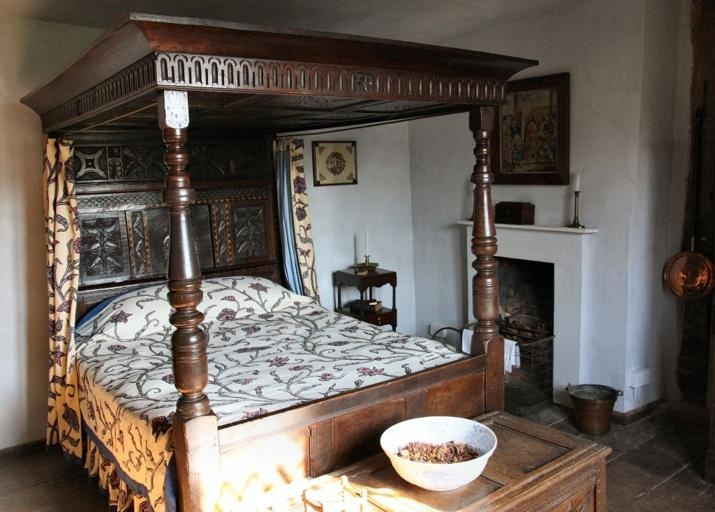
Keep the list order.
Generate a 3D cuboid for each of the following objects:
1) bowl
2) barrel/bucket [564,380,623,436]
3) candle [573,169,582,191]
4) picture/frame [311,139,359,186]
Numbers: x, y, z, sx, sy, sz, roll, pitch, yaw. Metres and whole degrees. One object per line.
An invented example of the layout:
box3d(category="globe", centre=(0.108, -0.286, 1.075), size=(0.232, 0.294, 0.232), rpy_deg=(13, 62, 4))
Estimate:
box3d(category="bowl", centre=(0.405, 1.022, 2.867), size=(0.588, 0.206, 0.574), rpy_deg=(-2, 7, 0))
box3d(category="barrel/bucket", centre=(1.949, 1.249, 4.601), size=(0.385, 0.382, 0.464), rpy_deg=(4, 7, 30))
box3d(category="candle", centre=(1.909, -0.648, 4.844), size=(0.065, 0.166, 0.091), rpy_deg=(3, 9, 38))
box3d(category="picture/frame", centre=(-0.264, -1.002, 5.922), size=(0.537, 0.442, 0.068), rpy_deg=(4, -8, -39))
